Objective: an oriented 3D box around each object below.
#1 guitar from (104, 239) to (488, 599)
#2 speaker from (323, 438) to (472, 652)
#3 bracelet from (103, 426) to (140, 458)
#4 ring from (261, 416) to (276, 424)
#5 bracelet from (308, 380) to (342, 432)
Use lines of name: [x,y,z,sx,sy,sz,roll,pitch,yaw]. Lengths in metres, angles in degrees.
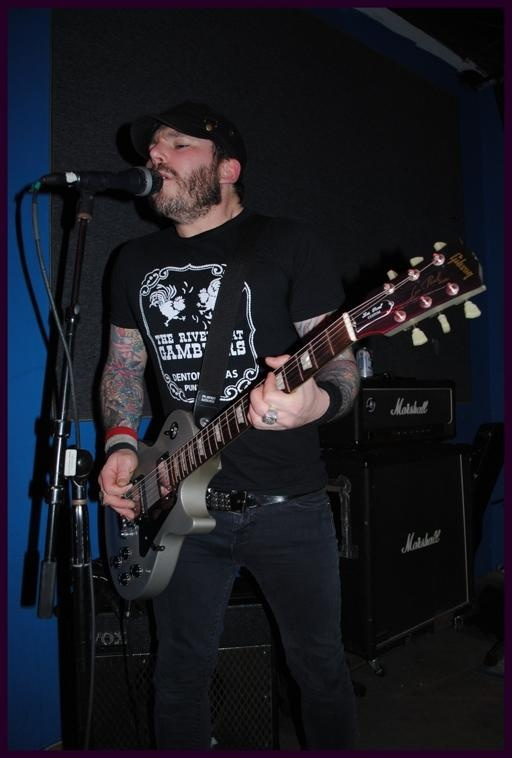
guitar: [-0.085,0.227,1.611,0.217,0.501,1.507,4,-34,-34]
speaker: [0.531,0.622,2.452,0.360,0.877,0.938,-5,-4,38]
bracelet: [-0.380,0.177,1.786,0.080,0.060,0.077,0,-19,-24]
ring: [0.027,0.080,1.273,0.028,0.022,0.020,0,1,0]
bracelet: [0.158,0.057,1.426,0.034,0.090,0.067,4,4,-42]
